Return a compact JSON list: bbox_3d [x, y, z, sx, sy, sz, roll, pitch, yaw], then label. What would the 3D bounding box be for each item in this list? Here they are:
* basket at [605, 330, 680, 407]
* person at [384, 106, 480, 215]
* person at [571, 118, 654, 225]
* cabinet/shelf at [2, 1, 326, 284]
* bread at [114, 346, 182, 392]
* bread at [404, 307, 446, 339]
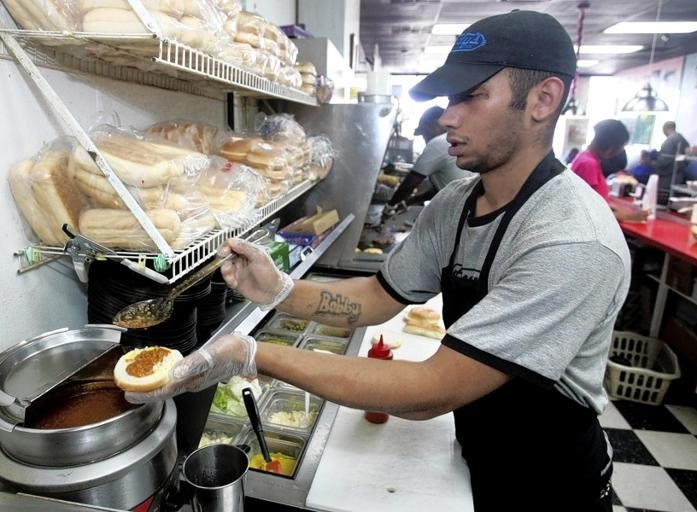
[{"bbox_3d":[2.289,0.885,3.648,0.503,0.313,0.655,6,9,15],"label":"basket"},{"bbox_3d":[0.663,-0.638,3.559,0.805,0.597,0.638,-11,-14,41],"label":"person"},{"bbox_3d":[2.664,-0.882,4.730,0.886,0.997,0.739,4,18,15],"label":"person"},{"bbox_3d":[-0.627,-0.284,1.132,0.555,0.633,0.179,17,26,36],"label":"cabinet/shelf"},{"bbox_3d":[-0.489,0.278,1.118,0.129,0.038,0.125,1,19,-7],"label":"bread"},{"bbox_3d":[0.422,0.377,2.549,0.179,0.094,0.174,4,4,6],"label":"bread"}]
